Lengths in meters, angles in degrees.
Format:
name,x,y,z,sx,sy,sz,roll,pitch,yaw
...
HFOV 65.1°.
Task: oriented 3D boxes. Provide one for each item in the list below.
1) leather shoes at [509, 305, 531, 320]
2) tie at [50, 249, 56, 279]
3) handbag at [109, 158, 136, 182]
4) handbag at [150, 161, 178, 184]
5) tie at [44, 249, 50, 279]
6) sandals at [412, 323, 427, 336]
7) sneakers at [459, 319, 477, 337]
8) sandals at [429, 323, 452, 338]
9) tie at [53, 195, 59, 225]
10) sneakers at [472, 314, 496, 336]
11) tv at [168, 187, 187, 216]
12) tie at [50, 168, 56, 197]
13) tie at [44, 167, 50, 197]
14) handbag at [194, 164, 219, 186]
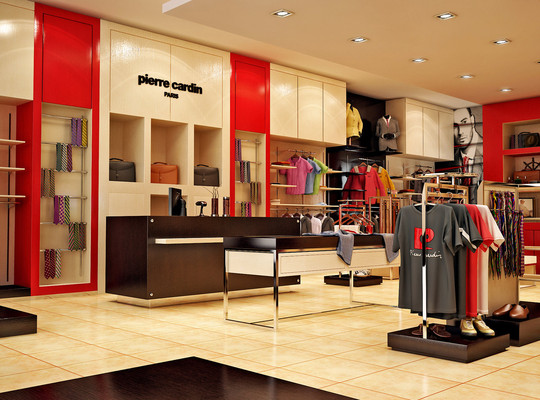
name,x,y,z,sx,sy,sz,roll,pitch,yaw
leather shoes,2.383,1.067,4.051,0.144,0.106,0.279,-3,-5,41
tie,-3.225,0.919,6.255,0.071,0.395,0.087,2,-4,-22
handbag,-2.515,-0.494,6.986,0.335,0.382,0.587,-4,-4,42
handbag,-1.845,-0.445,7.381,0.596,0.393,0.337,1,-3,-41
tie,-3.330,0.952,6.274,0.083,0.462,0.224,2,-4,-29
sandals,1.293,1.115,3.659,0.060,0.064,0.179,1,-1,32
sneakers,1.710,1.083,3.627,0.134,0.131,0.192,-1,-4,24
sandals,1.446,1.113,3.612,0.085,0.039,0.155,0,0,-16
tie,-3.190,0.129,6.276,0.076,0.408,0.040,2,-4,-26
sneakers,1.861,1.084,3.689,0.097,0.115,0.280,-2,-3,-10
tv,-1.269,0.025,5.767,0.225,0.385,0.399,1,-4,-14
tie,-3.269,-0.258,6.329,0.072,0.409,0.230,2,-4,-18
tie,-3.297,-0.262,6.184,0.033,0.396,0.101,-1,-4,23
handbag,-1.157,-0.429,7.699,0.550,0.432,0.354,2,-3,-43
